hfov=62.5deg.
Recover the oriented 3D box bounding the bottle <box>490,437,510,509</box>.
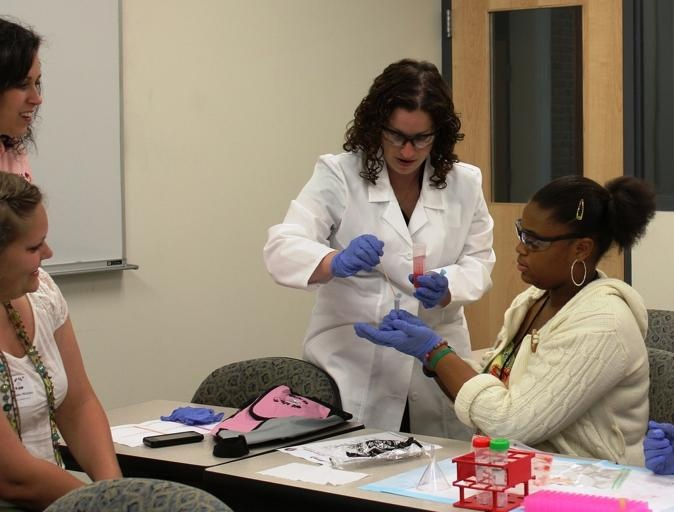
[{"bbox_3d":[0.353,0.472,1.212,0.036,0.140,0.051,0,8,17],"label":"bottle"}]

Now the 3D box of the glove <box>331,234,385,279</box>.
[{"bbox_3d":[0.076,0.013,1.995,0.170,0.080,0.138,-12,49,13],"label":"glove"}]

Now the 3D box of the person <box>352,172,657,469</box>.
[{"bbox_3d":[0.510,0.141,2.209,0.869,1.476,0.645,2,2,7],"label":"person"}]

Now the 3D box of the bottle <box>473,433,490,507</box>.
[{"bbox_3d":[0.324,0.472,1.240,0.038,0.133,0.083,0,7,13],"label":"bottle"}]

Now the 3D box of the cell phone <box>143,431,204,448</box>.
[{"bbox_3d":[-0.494,0.552,1.690,0.128,0.023,0.063,-2,0,-26],"label":"cell phone"}]

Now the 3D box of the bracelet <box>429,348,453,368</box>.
[{"bbox_3d":[0.315,0.306,1.707,0.062,0.024,0.056,-45,-2,4],"label":"bracelet"}]

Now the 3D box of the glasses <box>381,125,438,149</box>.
[{"bbox_3d":[0.259,-0.436,2.019,0.185,0.086,0.070,-1,7,5],"label":"glasses"}]

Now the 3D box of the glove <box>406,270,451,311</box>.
[{"bbox_3d":[0.350,0.127,2.094,0.145,0.128,0.212,17,-6,8],"label":"glove"}]
